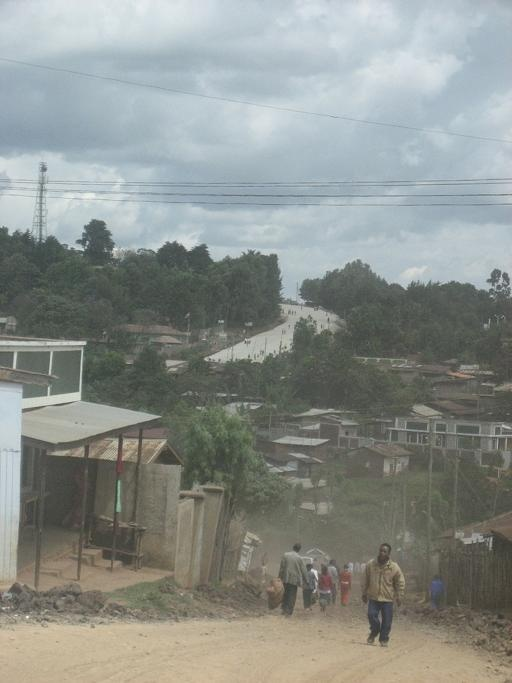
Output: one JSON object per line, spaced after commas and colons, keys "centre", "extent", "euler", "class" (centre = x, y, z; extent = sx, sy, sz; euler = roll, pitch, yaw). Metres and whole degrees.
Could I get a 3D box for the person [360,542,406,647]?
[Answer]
{"centre": [1.776, 3.629, 17.729], "extent": [0.565, 1.444, 0.309], "euler": [0, 6, 5], "class": "person"}
